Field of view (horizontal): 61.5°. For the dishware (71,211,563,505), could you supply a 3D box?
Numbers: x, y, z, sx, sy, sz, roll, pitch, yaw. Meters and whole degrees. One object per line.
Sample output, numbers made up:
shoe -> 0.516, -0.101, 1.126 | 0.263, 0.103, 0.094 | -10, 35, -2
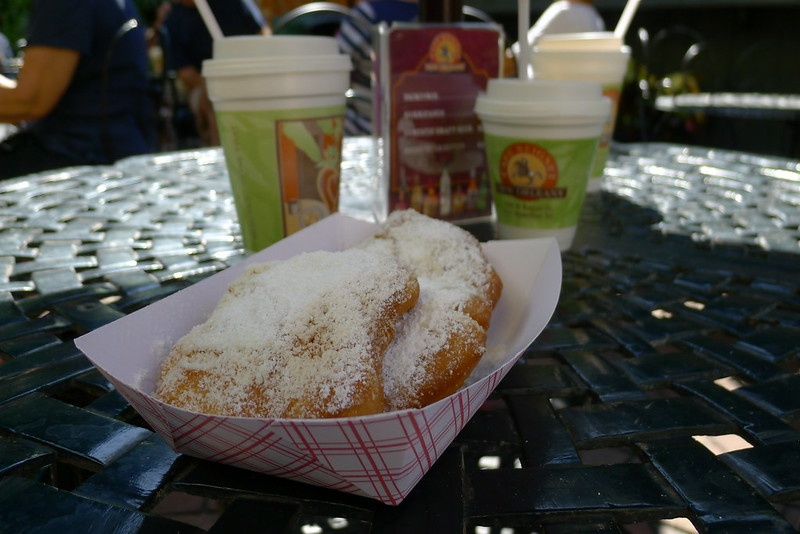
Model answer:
dishware -> -0.069, 0.102, 0.932 | 0.458, 0.212, 0.546 | 16, 28, 34

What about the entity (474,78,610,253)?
entity -> 0.267, -0.181, 1.280 | 0.248, 0.282, 0.252 | -3, 2, -16

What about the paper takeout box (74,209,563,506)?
paper takeout box -> -0.011, 0.115, 0.884 | 0.383, 0.154, 0.452 | 19, 41, 31

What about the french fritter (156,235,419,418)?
french fritter -> -0.146, 0.092, 0.859 | 0.232, 0.067, 0.247 | -5, 39, 19

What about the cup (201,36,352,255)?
cup -> -0.188, -0.233, 1.217 | 0.319, 0.445, 0.326 | -1, 17, 0
